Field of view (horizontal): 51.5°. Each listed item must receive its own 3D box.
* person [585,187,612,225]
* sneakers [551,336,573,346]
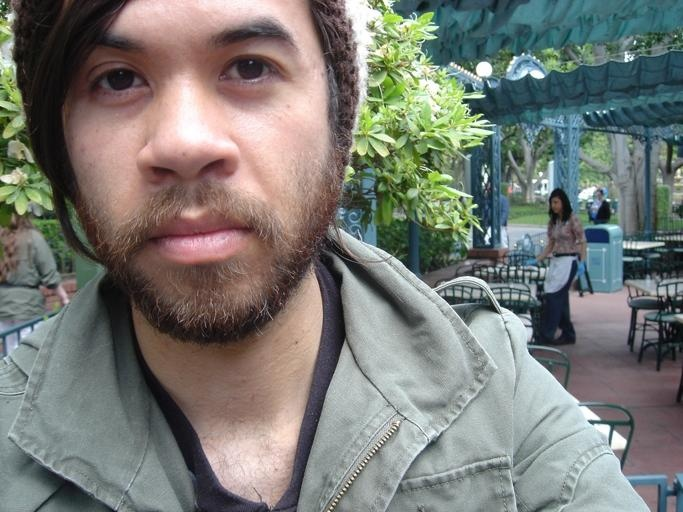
[{"bbox_3d":[7.103,-1.150,19.728,0.604,1.466,0.402,7,41,14],"label":"person"},{"bbox_3d":[2.959,1.150,9.539,0.295,0.143,0.107,4,-4,6],"label":"sneakers"}]
